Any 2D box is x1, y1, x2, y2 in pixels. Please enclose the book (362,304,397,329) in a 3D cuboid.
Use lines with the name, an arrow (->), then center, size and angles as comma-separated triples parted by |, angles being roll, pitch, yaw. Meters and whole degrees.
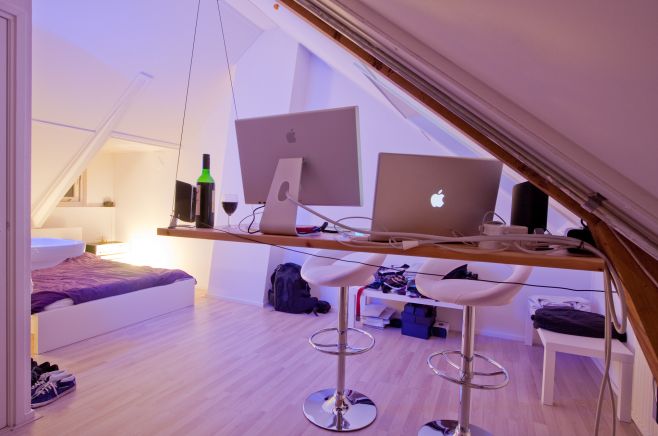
book -> 0.484, 1.009, 4.450 | 0.253, 0.081, 0.256 | 2, 7, 28

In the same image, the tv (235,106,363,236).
tv -> -0.168, -0.246, 2.175 | 0.659, 0.623, 0.327 | 1, 10, -3

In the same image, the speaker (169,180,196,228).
speaker -> -0.768, -0.078, 2.250 | 0.138, 0.234, 0.084 | -2, 11, -19

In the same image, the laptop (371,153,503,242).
laptop -> 0.499, -0.114, 2.015 | 0.593, 0.359, 0.408 | 4, 2, -2

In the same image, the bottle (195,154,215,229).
bottle -> -0.669, -0.151, 2.300 | 0.106, 0.377, 0.218 | -2, 11, -16

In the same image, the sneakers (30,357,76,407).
sneakers -> -1.974, 1.159, 3.061 | 0.247, 0.109, 0.312 | 8, 0, 13
